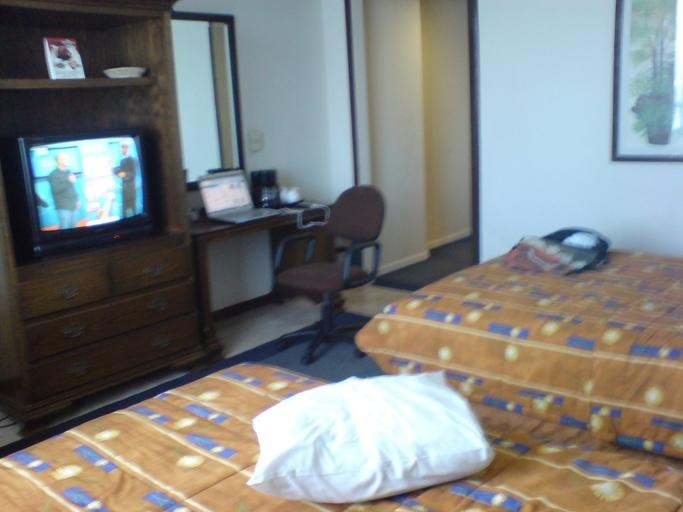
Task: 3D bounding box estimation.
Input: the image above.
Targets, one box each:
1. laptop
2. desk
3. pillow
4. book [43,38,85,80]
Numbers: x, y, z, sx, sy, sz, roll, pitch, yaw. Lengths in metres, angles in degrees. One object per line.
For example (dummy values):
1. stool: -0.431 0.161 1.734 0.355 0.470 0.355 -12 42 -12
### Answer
1. laptop: -0.751 -0.425 3.875 0.443 0.337 0.520 13 21 28
2. desk: -0.720 0.091 4.110 0.519 0.813 1.375 8 16 28
3. pillow: 0.062 0.496 1.471 0.635 0.199 0.282 -8 17 -11
4. book: -1.573 -1.120 3.032 0.172 0.252 0.367 -12 19 -23
